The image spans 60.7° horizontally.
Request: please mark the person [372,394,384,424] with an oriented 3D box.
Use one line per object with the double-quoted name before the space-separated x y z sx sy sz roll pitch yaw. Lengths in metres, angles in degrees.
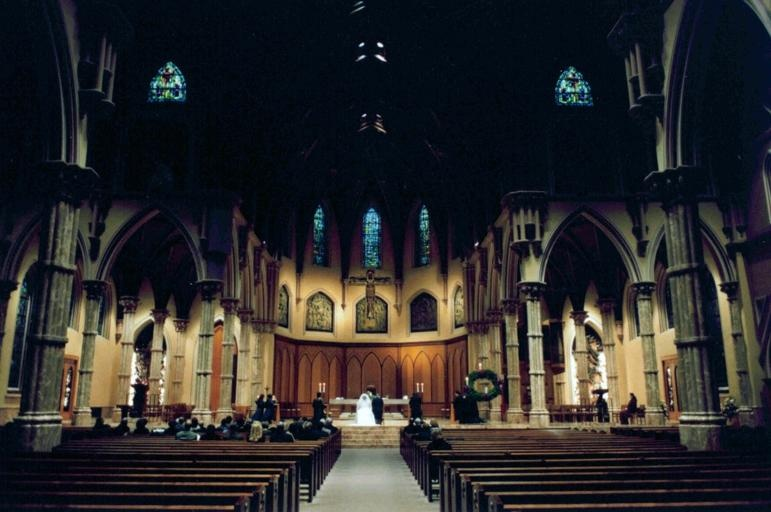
"person" -0.356 7.158 30.747 0.428 1.257 0.833 -1 -16 -3
